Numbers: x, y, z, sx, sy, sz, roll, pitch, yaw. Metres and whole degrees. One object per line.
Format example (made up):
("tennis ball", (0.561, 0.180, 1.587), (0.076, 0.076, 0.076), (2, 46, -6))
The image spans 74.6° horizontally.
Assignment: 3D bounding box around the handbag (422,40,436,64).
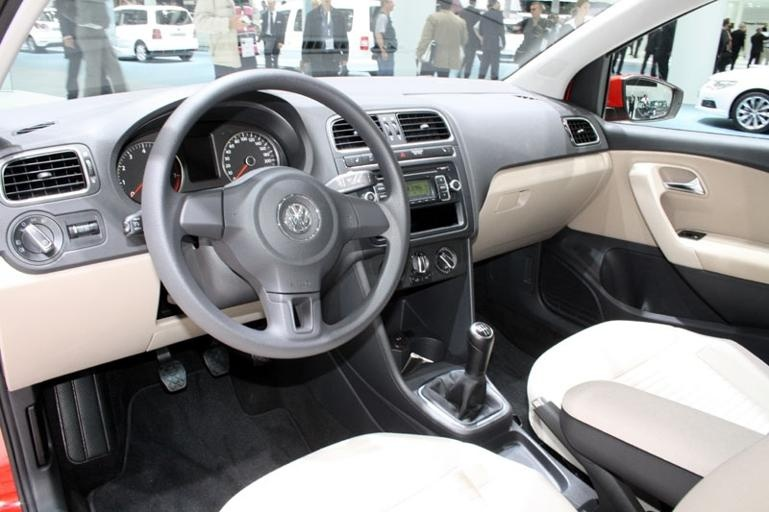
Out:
("handbag", (0.332, -1.551, 3.853), (0.046, 0.141, 0.103), (16, 33, -12))
